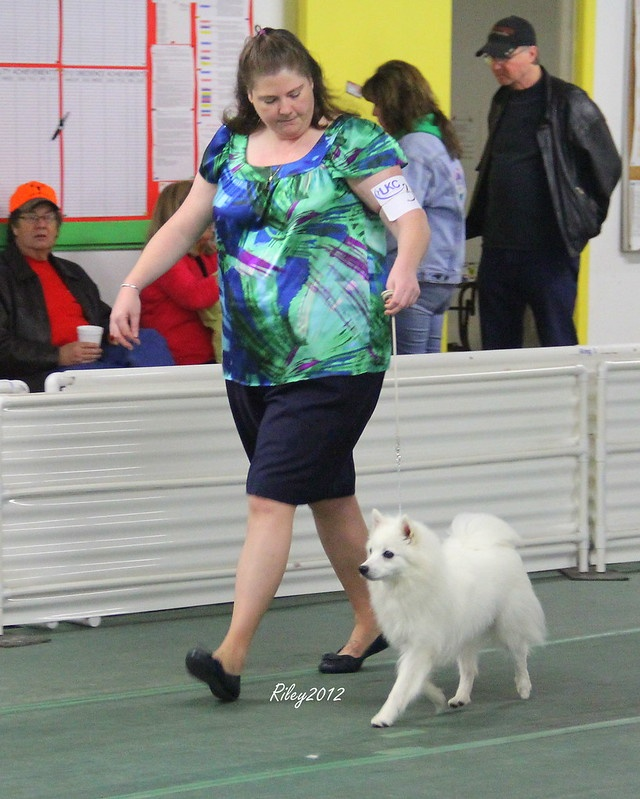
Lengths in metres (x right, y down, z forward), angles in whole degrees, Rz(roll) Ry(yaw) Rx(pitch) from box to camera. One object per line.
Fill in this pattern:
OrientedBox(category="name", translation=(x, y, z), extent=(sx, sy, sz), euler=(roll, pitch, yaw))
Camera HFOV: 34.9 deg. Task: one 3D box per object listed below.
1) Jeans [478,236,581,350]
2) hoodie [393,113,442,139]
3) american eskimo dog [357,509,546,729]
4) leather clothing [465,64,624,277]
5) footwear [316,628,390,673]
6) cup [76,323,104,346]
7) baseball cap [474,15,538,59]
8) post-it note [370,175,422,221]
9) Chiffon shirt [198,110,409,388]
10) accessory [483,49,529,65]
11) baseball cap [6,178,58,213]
OrientedBox(category="Jeans", translation=(1.181, -0.623, 5.754), extent=(0.589, 1.048, 0.352), euler=(9, 55, 16))
OrientedBox(category="hoodie", translation=(0.462, -1.299, 4.858), extent=(0.181, 0.068, 0.119), euler=(-10, 1, 11))
OrientedBox(category="american eskimo dog", translation=(0.368, 0.653, 2.907), extent=(0.737, 0.501, 0.282), euler=(-2, 4, -40))
OrientedBox(category="leather clothing", translation=(1.208, -1.273, 5.531), extent=(0.711, 1.001, 0.383), euler=(3, 7, 37))
OrientedBox(category="footwear", translation=(0.135, 0.807, 3.283), extent=(0.277, 0.089, 0.095), euler=(-8, -9, -37))
OrientedBox(category="cup", translation=(-1.051, -0.296, 4.632), extent=(0.125, 0.072, 0.098), euler=(0, 5, -10))
OrientedBox(category="baseball cap", translation=(0.964, -1.934, 5.396), extent=(0.359, 0.166, 0.221), euler=(-12, 20, -29))
OrientedBox(category="post-it note", translation=(0.208, -0.541, 2.726), extent=(0.113, 0.130, 0.071), euler=(-5, 6, -35))
OrientedBox(category="Chiffon shirt", translation=(-0.046, -0.410, 2.838), extent=(0.566, 0.739, 0.264), euler=(-1, 6, 6))
OrientedBox(category="accessory", translation=(1.019, -1.822, 5.380), extent=(0.124, 0.027, 0.112), euler=(-15, 10, -31))
OrientedBox(category="baseball cap", translation=(-1.444, -1.023, 5.076), extent=(0.186, 0.115, 0.246), euler=(0, -16, -33))
